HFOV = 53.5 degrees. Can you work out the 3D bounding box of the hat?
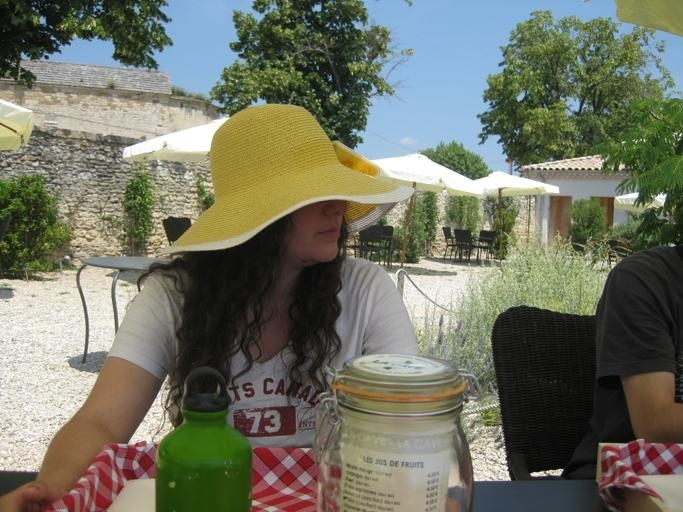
[{"bbox_3d":[-0.148,-0.287,2.423,0.592,0.324,0.611,-25,-8,23],"label":"hat"}]
